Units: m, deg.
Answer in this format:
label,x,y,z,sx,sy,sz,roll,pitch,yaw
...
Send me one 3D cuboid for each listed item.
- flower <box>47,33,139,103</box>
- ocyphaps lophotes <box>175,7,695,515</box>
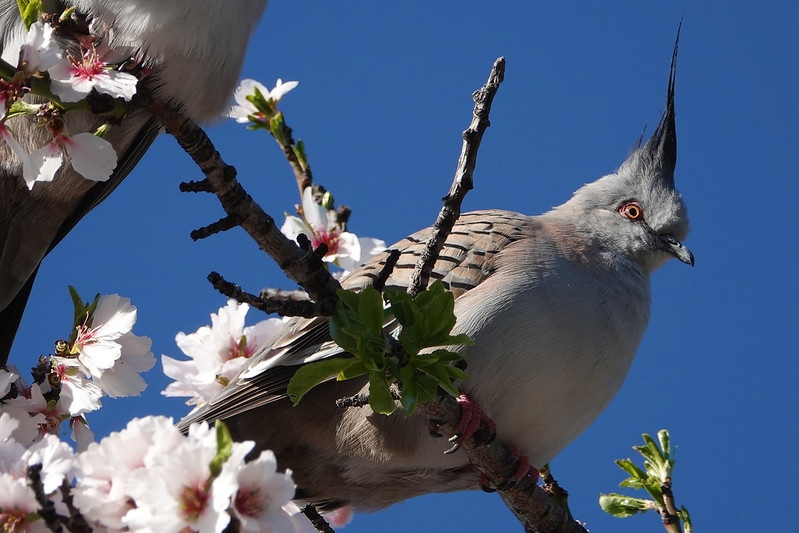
label,x,y,z,sx,sy,sz,roll,pitch,yaw
flower,-0.914,-0.574,3.624,0.198,0.197,0.078,14,-36,-16
ocyphaps lophotes,0.005,0.244,4.112,2.141,1.811,0.876,-9,-31,13
